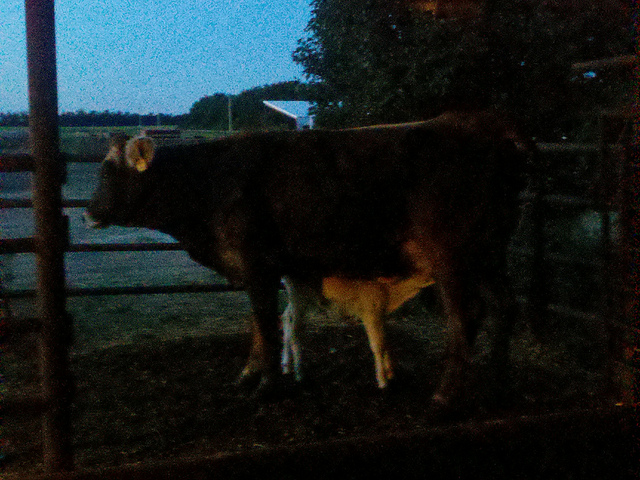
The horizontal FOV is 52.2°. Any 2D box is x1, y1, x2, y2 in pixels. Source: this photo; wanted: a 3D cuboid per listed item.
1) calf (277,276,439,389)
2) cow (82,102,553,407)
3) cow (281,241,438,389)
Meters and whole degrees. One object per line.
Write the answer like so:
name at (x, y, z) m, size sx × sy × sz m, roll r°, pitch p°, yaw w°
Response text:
calf at (0.278, 0.678, 5.528) m, size 1.597 × 0.977 × 0.523 m, roll 3°, pitch 12°, yaw 24°
cow at (0.075, 0.082, 5.172) m, size 3.234 × 2.144 × 0.885 m, roll 1°, pitch 12°, yaw 7°
cow at (0.272, 0.487, 5.441) m, size 1.018 × 1.351 × 0.996 m, roll 1°, pitch 15°, yaw -29°
